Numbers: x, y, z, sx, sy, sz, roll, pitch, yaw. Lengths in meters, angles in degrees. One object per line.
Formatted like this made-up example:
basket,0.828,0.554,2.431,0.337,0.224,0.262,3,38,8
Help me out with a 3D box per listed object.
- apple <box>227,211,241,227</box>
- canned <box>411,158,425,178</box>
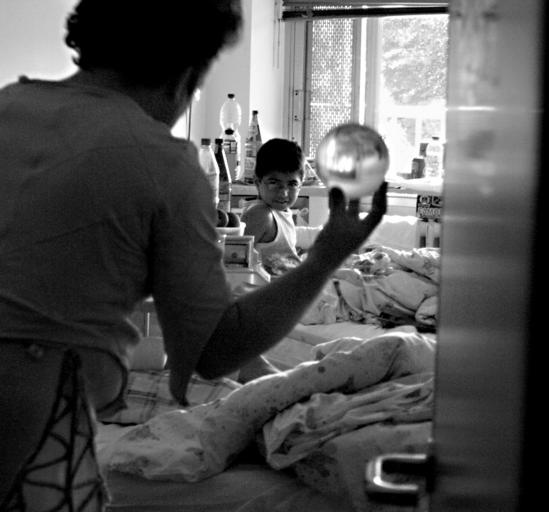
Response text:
apple,-0.137,-0.112,1.999,0.045,0.046,0.040,6,-31,-38
canned,1.059,-0.653,4.553,0.114,0.147,0.129,6,10,31
